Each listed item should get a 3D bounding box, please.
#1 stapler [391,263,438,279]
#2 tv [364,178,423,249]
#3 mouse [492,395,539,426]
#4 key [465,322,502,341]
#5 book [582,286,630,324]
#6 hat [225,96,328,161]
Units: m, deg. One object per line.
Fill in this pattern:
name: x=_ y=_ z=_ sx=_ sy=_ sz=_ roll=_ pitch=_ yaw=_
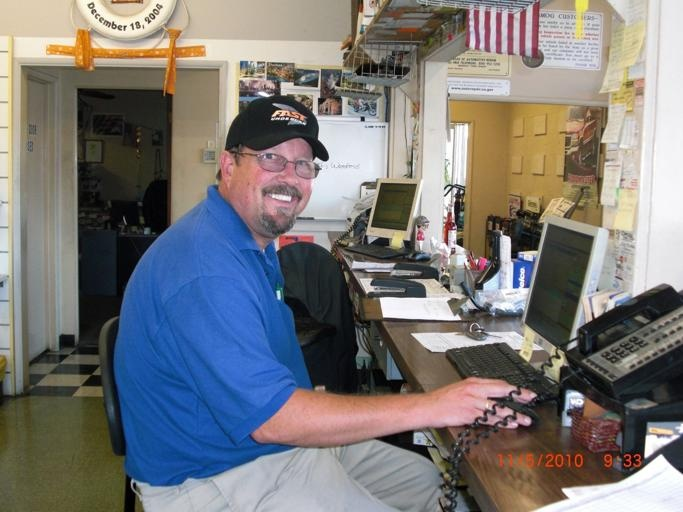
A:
stapler: x=0.457 y=0.086 z=3.353 sx=0.204 sy=0.072 sz=0.118 roll=3 pitch=5 yaw=10
tv: x=0.397 y=-0.313 z=4.102 sx=0.196 sy=0.575 sz=0.450 roll=14 pitch=-2 yaw=-42
mouse: x=0.469 y=0.422 z=1.515 sx=0.118 sy=0.033 sz=0.029 roll=24 pitch=30 yaw=15
key: x=0.543 y=0.279 z=2.138 sx=0.098 sy=0.036 sz=0.066 roll=6 pitch=10 yaw=10
book: x=0.847 y=0.144 z=1.780 sx=0.147 sy=0.053 sz=0.114 roll=-11 pitch=8 yaw=-13
hat: x=-0.197 y=-0.398 z=1.787 sx=0.196 sy=0.143 sz=0.261 roll=-4 pitch=7 yaw=-41
